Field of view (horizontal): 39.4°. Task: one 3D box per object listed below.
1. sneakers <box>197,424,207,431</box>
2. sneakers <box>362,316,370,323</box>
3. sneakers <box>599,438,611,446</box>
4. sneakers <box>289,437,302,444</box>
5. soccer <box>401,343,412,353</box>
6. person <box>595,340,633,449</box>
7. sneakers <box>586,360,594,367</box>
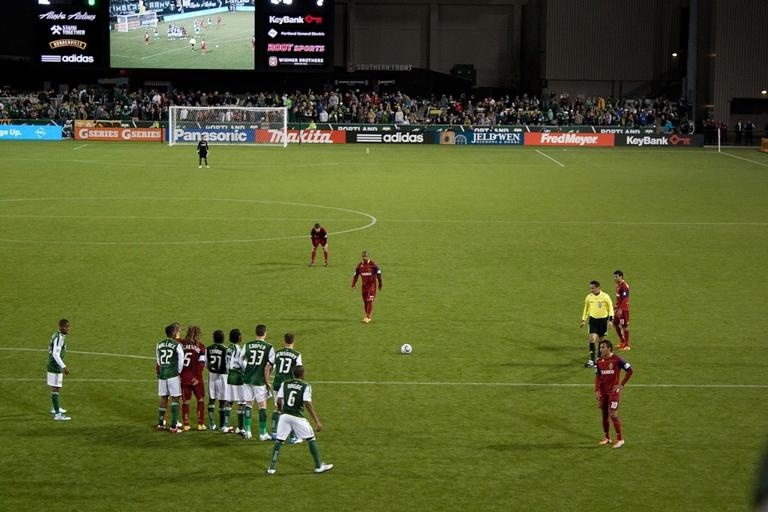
[{"bbox_3d":[-5.718,5.392,33.569,0.379,0.245,0.128,-2,17,-8],"label":"sneakers"},{"bbox_3d":[-0.672,2.430,40.963,0.223,0.123,0.223,-4,8,25],"label":"sneakers"},{"bbox_3d":[6.774,5.752,33.025,0.425,0.163,0.151,2,-3,8],"label":"sneakers"},{"bbox_3d":[-2.756,5.730,33.295,0.432,0.291,0.190,-3,5,4],"label":"sneakers"},{"bbox_3d":[0.783,3.304,38.341,0.438,0.306,0.643,1,5,2],"label":"soccer"},{"bbox_3d":[6.907,4.222,32.752,0.964,3.339,0.683,-1,6,-19],"label":"person"},{"bbox_3d":[7.152,3.752,37.421,0.306,0.246,0.559,0,5,-5],"label":"sneakers"}]
